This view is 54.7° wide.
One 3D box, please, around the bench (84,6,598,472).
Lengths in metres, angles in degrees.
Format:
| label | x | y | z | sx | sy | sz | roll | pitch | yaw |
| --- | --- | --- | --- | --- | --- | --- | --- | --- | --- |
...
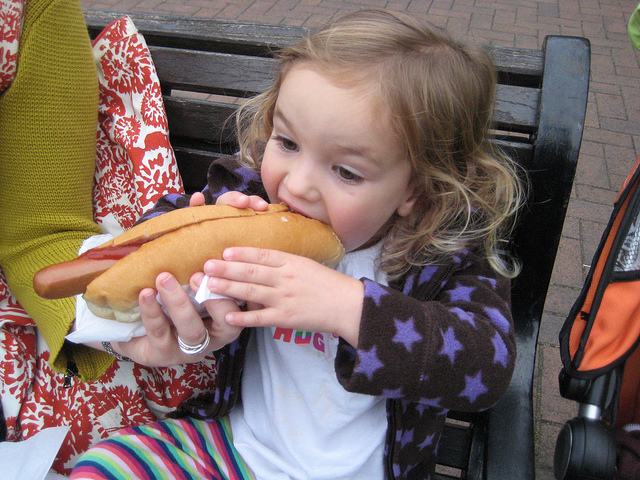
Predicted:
| label | x | y | z | sx | sy | sz | roll | pitch | yaw |
| --- | --- | --- | --- | --- | --- | --- | --- | --- | --- |
| bench | 0.026 | 0.021 | 2.277 | 1.545 | 1.585 | 1.262 | -1 | 24 | 5 |

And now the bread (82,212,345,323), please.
| label | x | y | z | sx | sy | sz | roll | pitch | yaw |
| --- | --- | --- | --- | --- | --- | --- | --- | --- | --- |
| bread | -0.337 | 0.054 | 2.160 | 0.956 | 0.303 | 0.451 | -13 | 11 | -21 |
